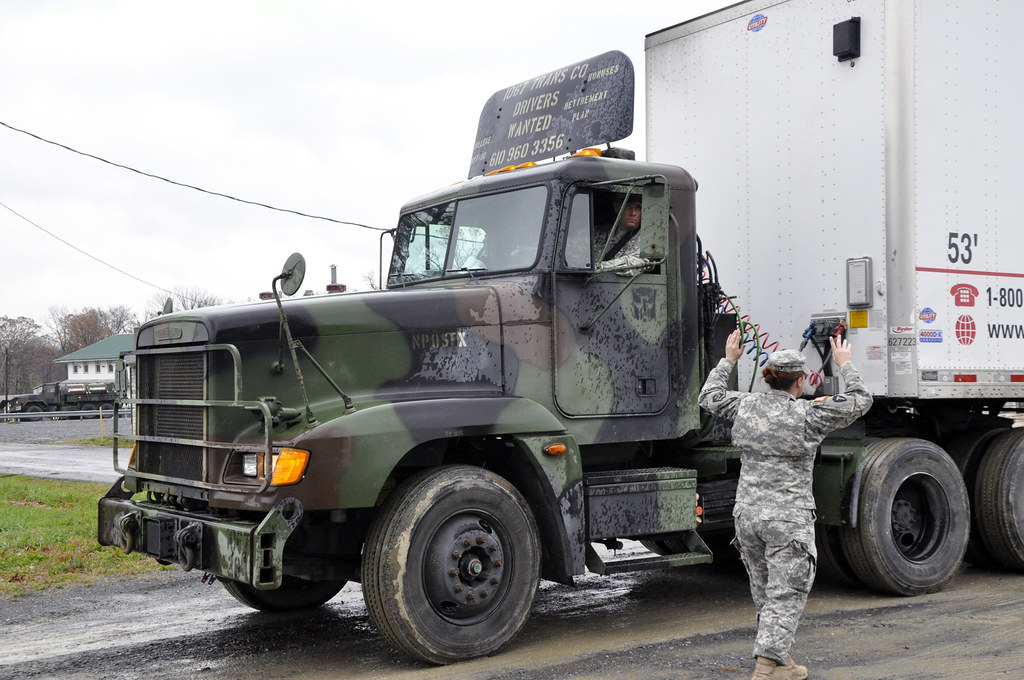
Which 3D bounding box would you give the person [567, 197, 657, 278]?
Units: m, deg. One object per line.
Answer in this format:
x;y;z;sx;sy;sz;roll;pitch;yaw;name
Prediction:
0.870;-0.906;8.167;0.853;0.799;0.576;5;4;-44;person
